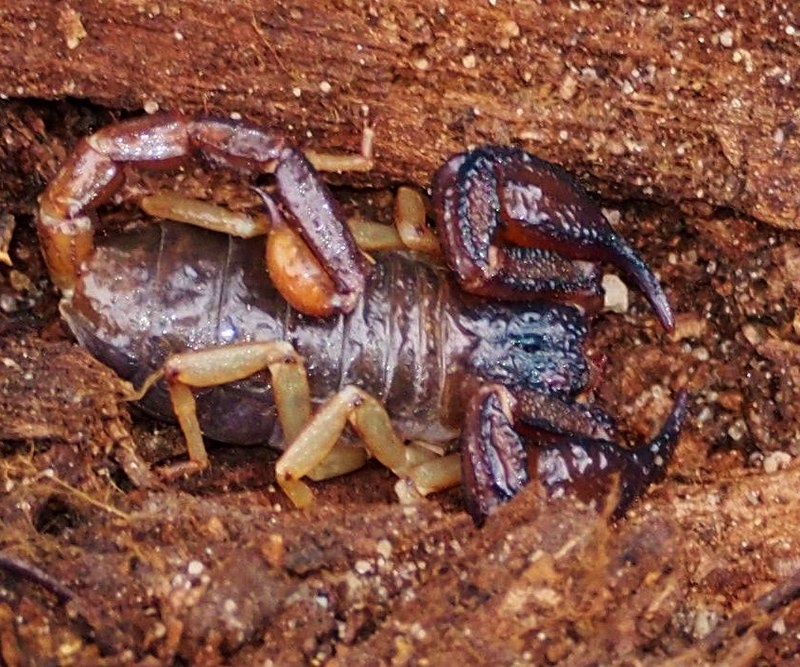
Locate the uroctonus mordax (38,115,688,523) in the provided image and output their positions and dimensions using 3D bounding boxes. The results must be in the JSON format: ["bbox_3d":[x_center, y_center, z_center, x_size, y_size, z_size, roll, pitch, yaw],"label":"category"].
[{"bbox_3d":[-0.124,-0.021,3.015,1.713,0.717,0.901,13,63,-9],"label":"uroctonus mordax"}]
